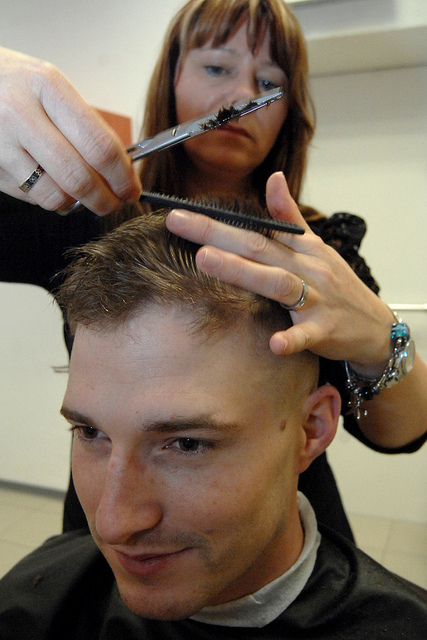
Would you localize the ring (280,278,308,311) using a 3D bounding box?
[{"bbox_3d":[0.092,-0.033,0.784,0.011,0.036,0.037,26,22,19],"label":"ring"}]

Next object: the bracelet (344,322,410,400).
[{"bbox_3d":[0.264,0.072,1.021,0.092,0.135,0.065,11,22,23],"label":"bracelet"}]

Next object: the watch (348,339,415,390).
[{"bbox_3d":[0.277,0.056,1.029,0.102,0.080,0.057,13,22,30],"label":"watch"}]
